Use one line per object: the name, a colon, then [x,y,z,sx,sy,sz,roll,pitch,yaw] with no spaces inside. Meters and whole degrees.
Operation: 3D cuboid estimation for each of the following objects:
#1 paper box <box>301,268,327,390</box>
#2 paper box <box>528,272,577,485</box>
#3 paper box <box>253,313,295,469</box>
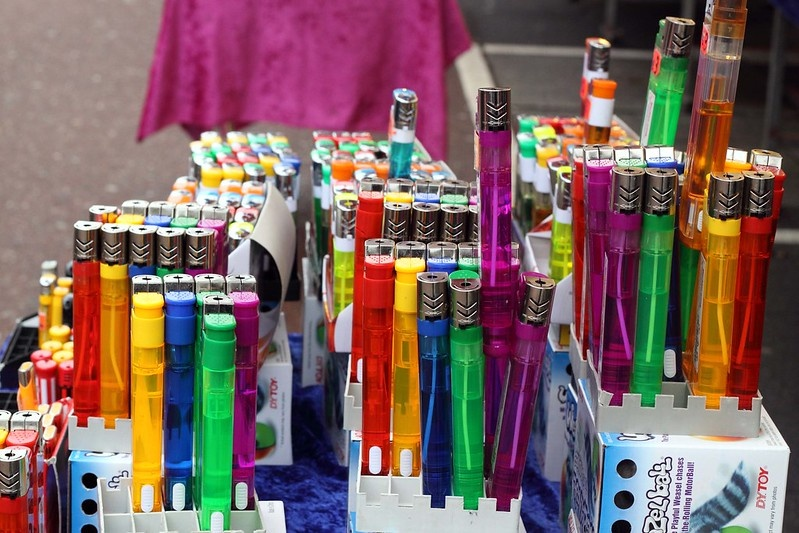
paper box: [-0.229,0.165,2.842,0.068,0.229,0.231,-1,37,-5]
paper box: [0.368,0.277,2.596,0.091,0.514,0.234,1,24,8]
paper box: [-0.309,0.360,2.635,0.081,0.262,0.126,4,25,16]
